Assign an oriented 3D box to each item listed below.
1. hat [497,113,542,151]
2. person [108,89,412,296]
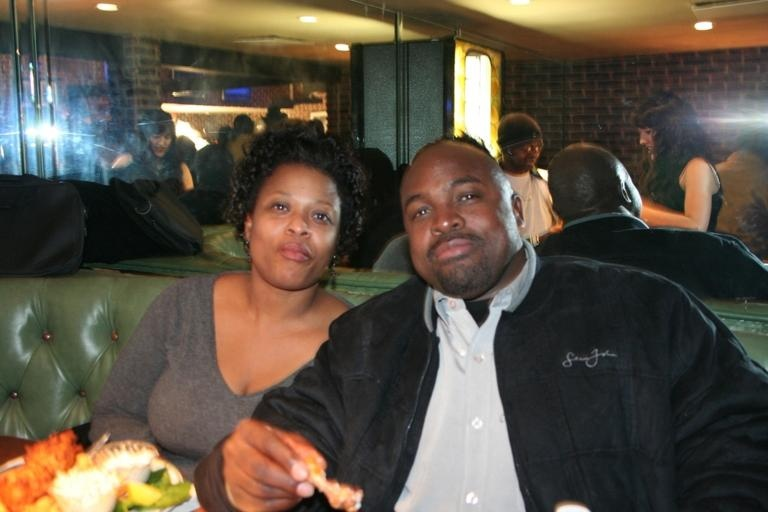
[{"bbox_3d":[0.559,-0.528,2.549,0.150,0.146,0.178,-15,23,7],"label":"hat"},{"bbox_3d":[-0.447,-0.154,3.193,1.152,0.920,1.246,6,7,39],"label":"person"}]
